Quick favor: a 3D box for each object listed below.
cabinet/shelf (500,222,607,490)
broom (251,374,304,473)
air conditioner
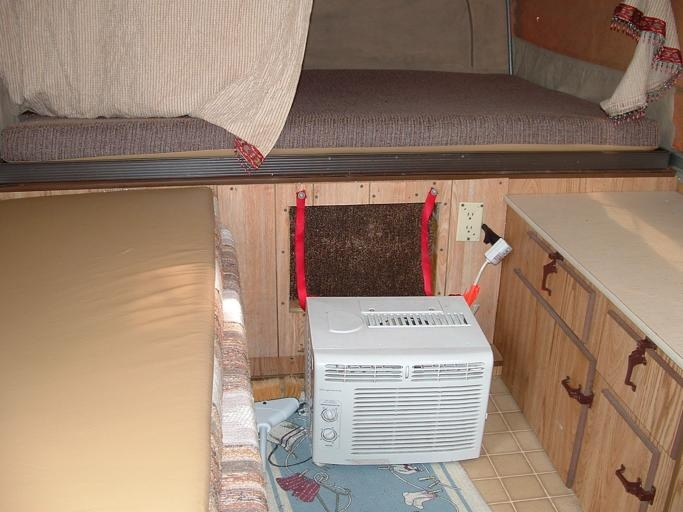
[{"bbox_3d":[0.667,0.317,1.684,0.241,0.675,0.577,0,-58,-2],"label":"cabinet/shelf"},{"bbox_3d":[-0.210,0.537,1.787,0.190,0.170,0.283,3,-69,-16],"label":"broom"},{"bbox_3d":[0.159,0.402,1.843,0.717,0.485,0.458,-1,-64,-2],"label":"air conditioner"}]
